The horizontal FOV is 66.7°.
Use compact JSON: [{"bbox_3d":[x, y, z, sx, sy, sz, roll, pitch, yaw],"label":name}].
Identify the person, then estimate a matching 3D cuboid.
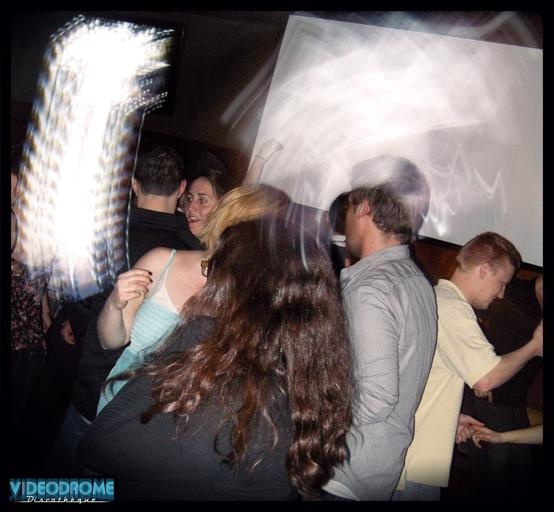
[{"bbox_3d":[0.039,0.293,1.496,0.694,1.495,0.478,21,29,-9],"label":"person"}]
